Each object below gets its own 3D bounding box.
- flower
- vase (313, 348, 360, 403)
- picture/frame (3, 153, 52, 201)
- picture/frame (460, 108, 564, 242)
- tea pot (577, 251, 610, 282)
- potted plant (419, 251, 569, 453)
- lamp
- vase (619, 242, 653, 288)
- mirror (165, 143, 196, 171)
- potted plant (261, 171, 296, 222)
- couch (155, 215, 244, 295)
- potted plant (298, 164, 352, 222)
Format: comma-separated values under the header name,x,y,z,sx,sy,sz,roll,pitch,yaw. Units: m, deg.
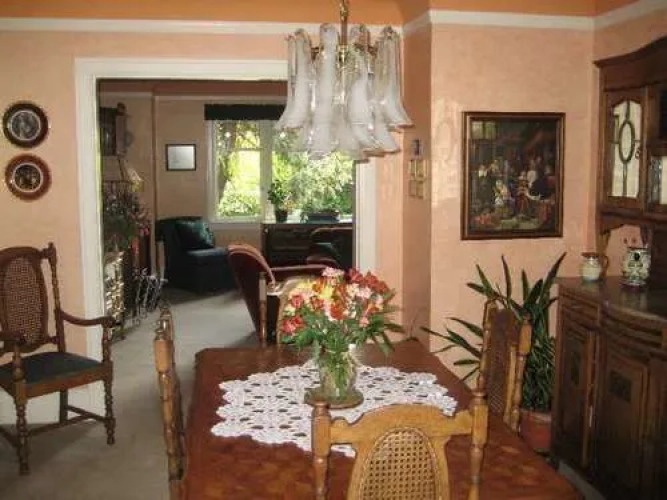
name,x,y,z,sx,sy,sz,roll,pitch,yaw
flower,-0.017,0.289,2.580,0.543,0.541,0.551,0,2,-6
vase,0.042,0.555,2.557,0.227,0.325,0.222,0,-3,3
picture/frame,-2.271,-0.552,4.201,0.315,0.331,0.086,-2,14,4
picture/frame,1.300,-0.612,4.206,0.960,1.166,0.080,-1,6,-11
tea pot,1.728,0.106,3.737,0.233,0.238,0.176,-2,5,-8
potted plant,1.283,0.868,4.168,1.056,1.344,0.915,6,-19,-13
lamp,0.035,-0.722,2.380,0.567,0.684,0.319,-4,14,-8
vase,1.868,0.100,3.509,0.184,0.241,0.191,1,5,4
mirror,-2.404,-1.493,8.804,0.438,0.394,0.045,-1,15,-6
potted plant,-0.816,-0.819,8.874,0.635,0.845,0.624,0,8,5
couch,-1.953,0.064,8.638,1.326,1.291,1.114,7,11,42
potted plant,-0.047,-0.987,8.843,0.908,0.907,0.509,-2,-4,-10
